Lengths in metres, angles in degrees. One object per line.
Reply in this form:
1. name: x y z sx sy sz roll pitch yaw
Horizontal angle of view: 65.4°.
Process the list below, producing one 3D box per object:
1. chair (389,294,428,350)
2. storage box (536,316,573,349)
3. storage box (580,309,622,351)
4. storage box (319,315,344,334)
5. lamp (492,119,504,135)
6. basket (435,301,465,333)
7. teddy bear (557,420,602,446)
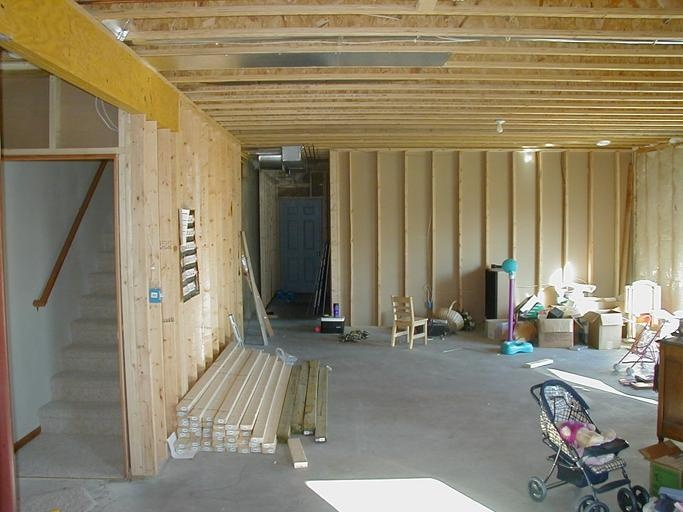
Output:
1. chair: 1.113 0.988 8.615 0.565 0.919 1.155 2 13 9
2. storage box: 3.317 1.196 8.294 0.513 0.333 0.481 0 -1 9
3. storage box: 4.027 1.135 8.419 0.577 0.485 0.727 0 -3 0
4. storage box: -0.170 1.189 9.248 0.408 0.246 0.318 0 13 2
5. lamp: 2.335 -1.918 7.842 0.136 0.153 1.227 4 12 17
6. basket: 1.941 1.083 9.499 0.449 0.409 0.578 1 13 6
7. teddy bear: 1.960 1.468 4.410 0.236 0.079 0.240 -1 -1 25
